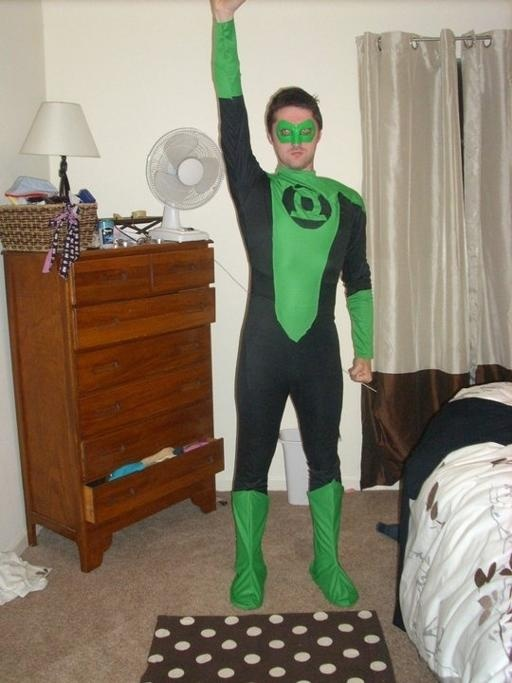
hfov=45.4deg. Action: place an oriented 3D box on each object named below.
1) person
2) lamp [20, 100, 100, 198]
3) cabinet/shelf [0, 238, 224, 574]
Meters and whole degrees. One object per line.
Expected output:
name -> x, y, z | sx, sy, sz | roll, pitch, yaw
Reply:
person -> 0.118, -0.036, 1.960 | 0.670, 1.796, 0.350 | -7, 10, -36
lamp -> -0.733, -0.667, 2.320 | 0.278, 0.426, 0.280 | 2, 4, 45
cabinet/shelf -> -0.556, 0.210, 2.478 | 0.475, 1.191, 0.730 | 5, 10, 38
